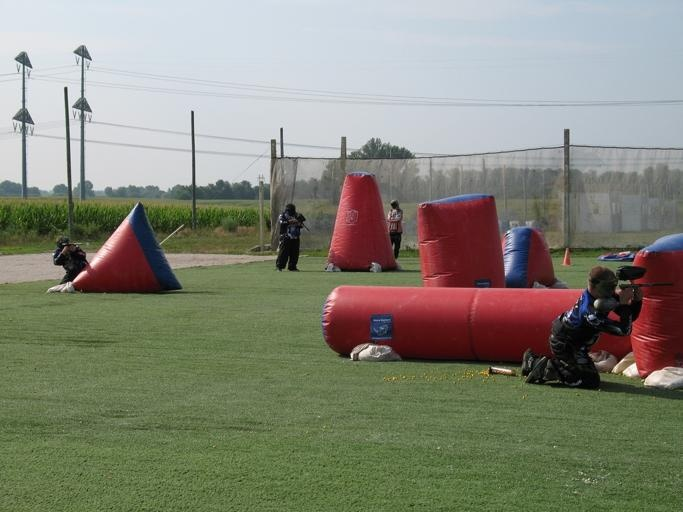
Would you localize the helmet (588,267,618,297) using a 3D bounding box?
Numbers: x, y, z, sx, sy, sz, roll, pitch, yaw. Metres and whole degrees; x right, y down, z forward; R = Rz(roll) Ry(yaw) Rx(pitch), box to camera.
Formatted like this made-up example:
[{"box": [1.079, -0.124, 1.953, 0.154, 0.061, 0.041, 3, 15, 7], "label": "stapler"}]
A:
[{"box": [1.840, 0.180, 8.194, 0.198, 0.214, 0.191, 1, 15, 9], "label": "helmet"}]

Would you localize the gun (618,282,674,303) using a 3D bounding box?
[{"box": [2.162, 0.260, 8.243, 0.471, 0.172, 0.045, 4, -31, -8], "label": "gun"}]

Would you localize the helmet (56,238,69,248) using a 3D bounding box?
[{"box": [-3.275, -0.149, 13.791, 0.116, 0.130, 0.141, -15, 24, -34], "label": "helmet"}]

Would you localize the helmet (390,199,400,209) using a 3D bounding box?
[{"box": [0.941, -0.901, 20.471, 0.140, 0.156, 0.172, 3, 22, 14], "label": "helmet"}]

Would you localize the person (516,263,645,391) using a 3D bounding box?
[{"box": [1.774, 0.486, 8.440, 0.886, 0.895, 0.600, 2, 21, 23], "label": "person"}]
